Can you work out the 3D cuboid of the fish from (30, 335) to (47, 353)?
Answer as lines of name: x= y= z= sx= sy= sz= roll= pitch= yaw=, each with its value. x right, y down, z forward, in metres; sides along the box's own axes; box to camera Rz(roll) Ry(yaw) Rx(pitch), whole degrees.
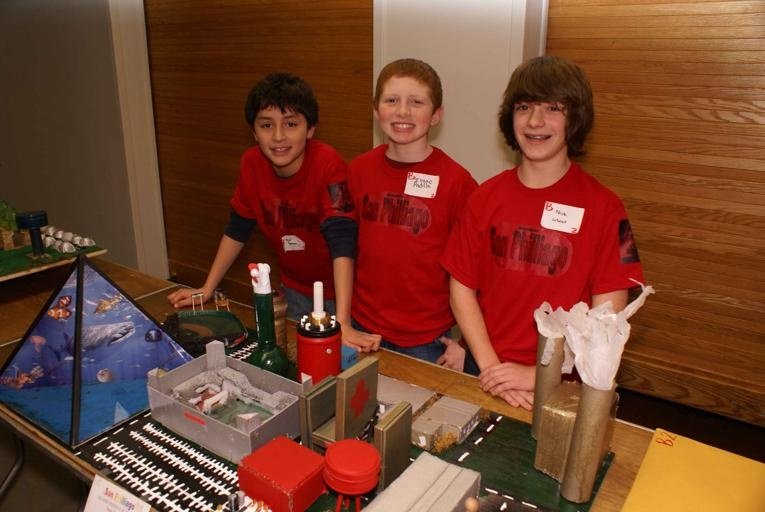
fish: x=-1.167 y=0.299 z=1.800 sx=0.045 sy=0.057 sz=0.026 roll=-1 pitch=3 yaw=13

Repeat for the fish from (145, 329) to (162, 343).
fish: x=-0.797 y=0.279 z=1.838 sx=0.052 sy=0.036 sz=0.027 roll=-8 pitch=24 yaw=-19

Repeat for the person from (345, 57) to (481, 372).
person: x=0.069 y=-0.168 z=2.576 sx=0.585 sy=1.493 sz=0.554 roll=-1 pitch=22 yaw=-6

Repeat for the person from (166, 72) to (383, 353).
person: x=-0.415 y=-0.154 z=2.635 sx=0.803 sy=1.454 sz=0.753 roll=3 pitch=21 yaw=10
